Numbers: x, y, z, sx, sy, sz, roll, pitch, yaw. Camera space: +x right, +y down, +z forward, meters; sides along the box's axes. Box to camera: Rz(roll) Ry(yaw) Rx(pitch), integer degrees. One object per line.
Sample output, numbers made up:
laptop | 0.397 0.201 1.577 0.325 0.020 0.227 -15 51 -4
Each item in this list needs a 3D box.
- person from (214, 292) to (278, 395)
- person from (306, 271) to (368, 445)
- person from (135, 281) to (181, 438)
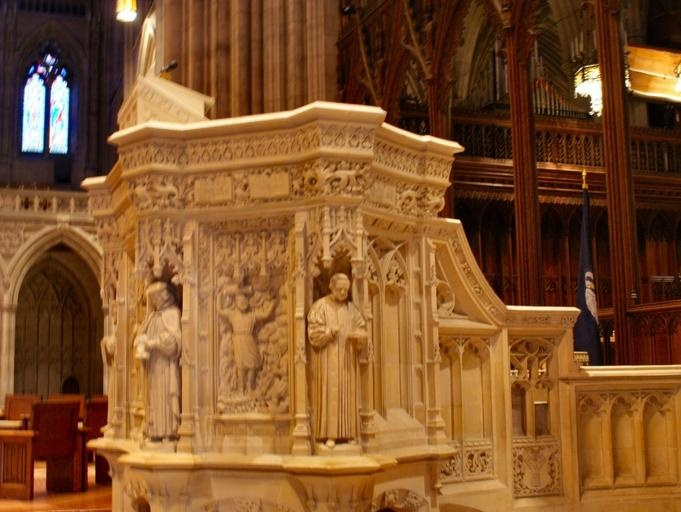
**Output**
person | -0.983 0.892 12.293 0.566 1.021 0.245 0 -14 -7
person | -0.024 1.081 12.111 0.587 1.736 0.349 -1 -14 -2
person | -1.900 1.104 12.280 0.452 1.624 0.285 0 -14 -8
